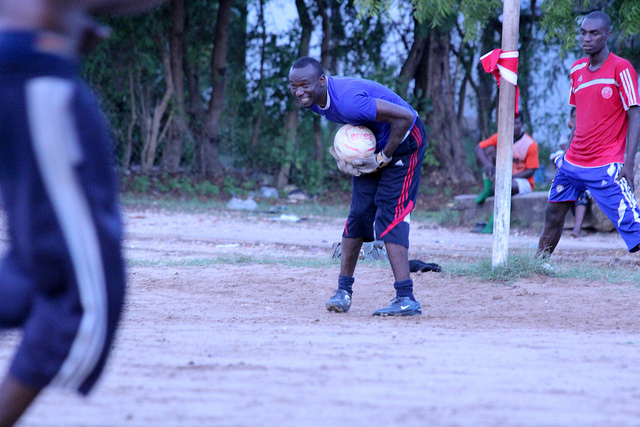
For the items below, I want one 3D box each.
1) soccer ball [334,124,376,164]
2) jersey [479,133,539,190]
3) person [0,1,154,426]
[{"bbox_3d":[0.306,-0.591,8.137,0.311,0.316,0.311,25,-10,5],"label":"soccer ball"},{"bbox_3d":[2.757,-0.628,13.723,0.932,1.131,0.679,5,37,17],"label":"jersey"},{"bbox_3d":[-1.696,-0.014,6.209,0.853,2.705,0.399,-2,9,-10],"label":"person"}]
